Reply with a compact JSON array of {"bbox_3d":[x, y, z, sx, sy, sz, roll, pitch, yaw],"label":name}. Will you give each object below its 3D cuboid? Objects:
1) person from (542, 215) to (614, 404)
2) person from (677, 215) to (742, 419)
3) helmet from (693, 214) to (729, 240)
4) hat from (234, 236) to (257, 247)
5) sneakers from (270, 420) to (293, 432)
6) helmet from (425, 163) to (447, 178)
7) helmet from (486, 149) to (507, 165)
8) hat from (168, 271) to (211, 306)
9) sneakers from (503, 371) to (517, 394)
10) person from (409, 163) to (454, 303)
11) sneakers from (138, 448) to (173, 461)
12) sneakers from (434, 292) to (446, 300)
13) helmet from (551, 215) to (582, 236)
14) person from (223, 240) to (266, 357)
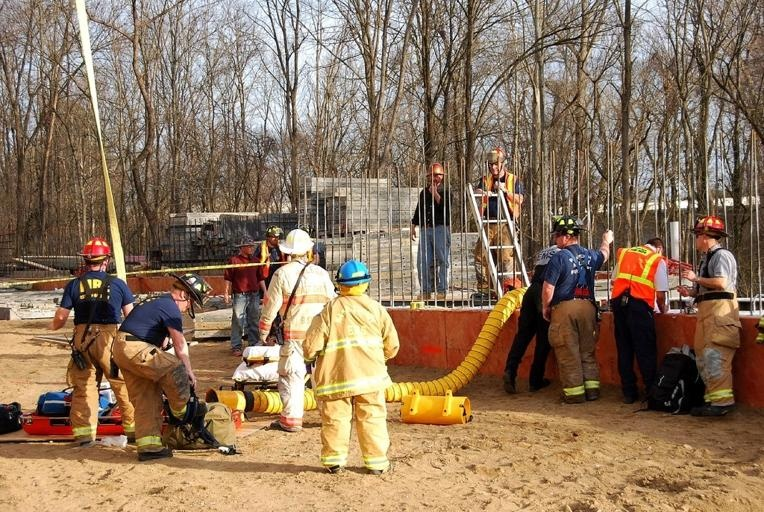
[{"bbox_3d":[3.732,1.030,19.491,1.283,3.621,0.581,-1,1,-4],"label":"person"},{"bbox_3d":[6.125,1.119,18.431,0.819,3.656,0.370,0,1,18],"label":"person"},{"bbox_3d":[6.114,-0.541,18.619,0.544,0.320,0.423,2,2,-12],"label":"helmet"},{"bbox_3d":[-3.941,-0.412,28.634,0.528,0.215,0.563,3,-2,-10],"label":"hat"},{"bbox_3d":[-1.897,3.212,18.728,0.172,0.215,0.492,7,-11,-42],"label":"sneakers"},{"bbox_3d":[1.195,-1.895,22.198,0.397,0.300,0.530,-1,6,-8],"label":"helmet"},{"bbox_3d":[2.472,-2.193,21.848,0.375,0.359,0.590,-1,1,7],"label":"helmet"},{"bbox_3d":[-3.345,0.700,17.717,0.717,0.330,0.522,44,2,-38],"label":"hat"},{"bbox_3d":[2.529,2.553,19.985,0.196,0.482,0.197,-2,32,12],"label":"sneakers"},{"bbox_3d":[1.101,-0.530,22.299,0.859,3.009,0.715,0,1,7],"label":"person"},{"bbox_3d":[-3.977,3.449,17.580,0.575,0.286,0.224,-3,2,-17],"label":"sneakers"},{"bbox_3d":[1.296,0.900,22.168,0.162,0.115,0.166,2,4,7],"label":"sneakers"},{"bbox_3d":[3.634,-0.595,19.591,0.482,0.309,0.369,7,-1,8],"label":"helmet"},{"bbox_3d":[-3.188,1.003,23.386,0.992,2.958,0.737,-4,25,-12],"label":"person"}]
